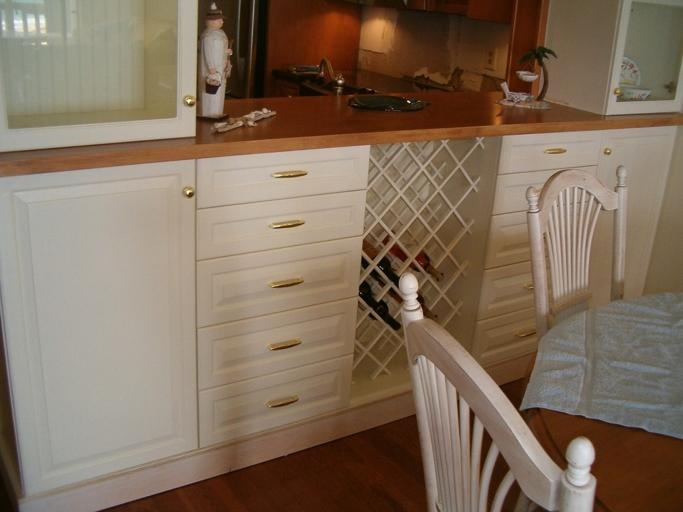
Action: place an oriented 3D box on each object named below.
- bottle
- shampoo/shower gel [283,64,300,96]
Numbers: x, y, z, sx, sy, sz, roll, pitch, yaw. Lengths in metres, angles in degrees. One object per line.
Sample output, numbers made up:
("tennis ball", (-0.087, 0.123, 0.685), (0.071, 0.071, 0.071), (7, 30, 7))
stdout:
("bottle", (0.221, 0.154, 2.219), (0.296, 0.424, 0.098), (-46, 23, -3))
("shampoo/shower gel", (-0.362, -1.281, 3.815), (0.130, 0.173, 0.247), (-12, 34, -26))
